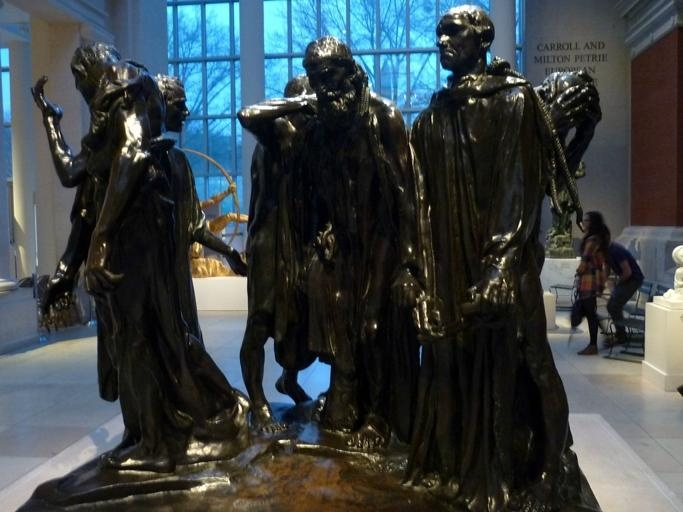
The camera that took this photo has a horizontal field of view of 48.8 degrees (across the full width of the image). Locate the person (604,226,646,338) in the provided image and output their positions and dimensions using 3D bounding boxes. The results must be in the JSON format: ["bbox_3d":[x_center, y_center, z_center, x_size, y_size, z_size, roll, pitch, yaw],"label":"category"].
[{"bbox_3d":[4.143,0.513,11.022,0.469,1.448,0.880,1,5,21],"label":"person"}]

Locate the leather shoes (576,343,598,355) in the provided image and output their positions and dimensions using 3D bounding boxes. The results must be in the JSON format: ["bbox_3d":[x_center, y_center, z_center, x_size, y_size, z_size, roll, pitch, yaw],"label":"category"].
[{"bbox_3d":[3.513,1.356,10.874,0.323,0.256,0.134,1,-5,7],"label":"leather shoes"}]
